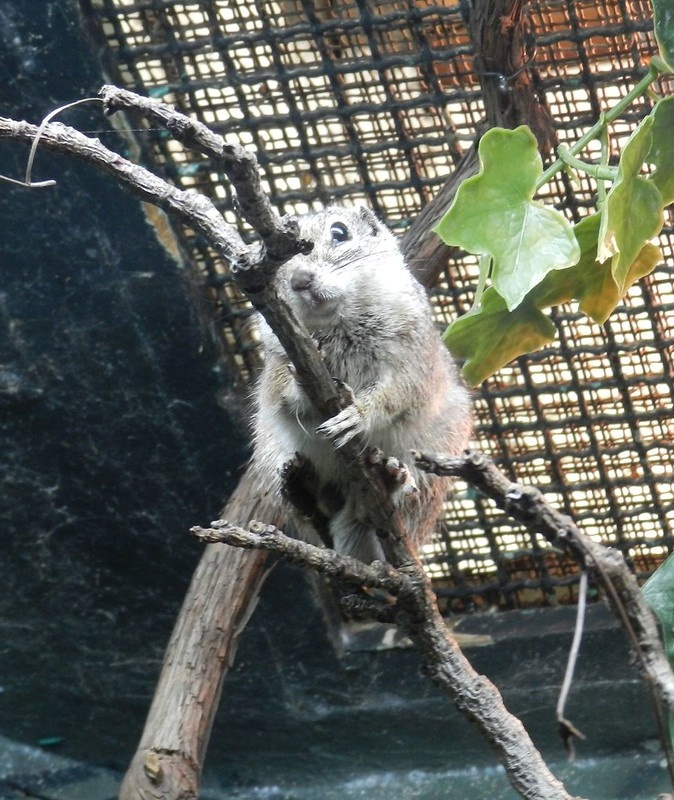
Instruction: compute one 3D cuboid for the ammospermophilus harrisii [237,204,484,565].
[{"bbox_3d":[0.121,-0.005,3.431,0.939,0.815,1.173,-6,-64,14],"label":"ammospermophilus harrisii"}]
